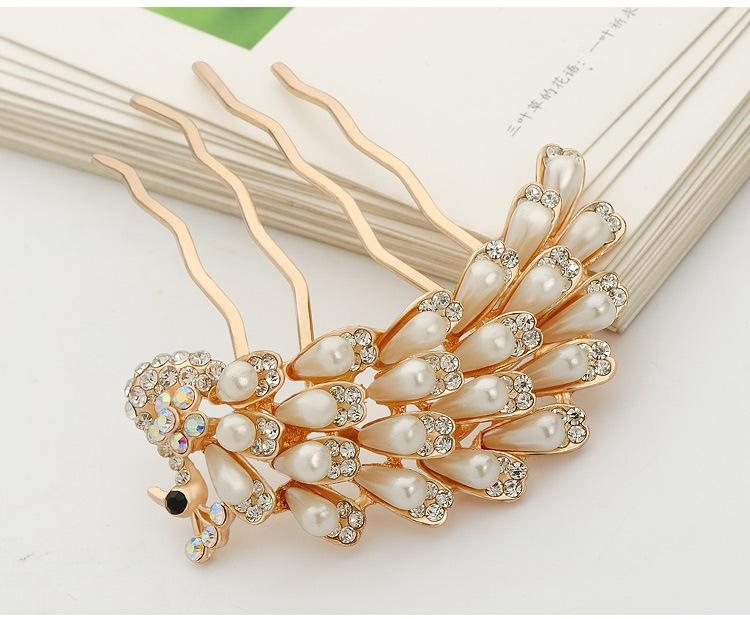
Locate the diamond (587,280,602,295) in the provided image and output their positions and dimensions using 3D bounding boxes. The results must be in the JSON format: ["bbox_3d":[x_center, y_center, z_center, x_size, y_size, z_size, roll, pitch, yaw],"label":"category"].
[{"bbox_3d":[0.243,-0.026,0.821,0.015,0.015,0.004,-34,-22,12],"label":"diamond"}]

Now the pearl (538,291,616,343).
[{"bbox_3d":[0.222,0.011,0.808,0.099,0.031,0.036,-24,22,27],"label":"pearl"}]

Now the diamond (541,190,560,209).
[{"bbox_3d":[0.202,-0.126,0.852,0.023,0.019,0.005,0,-9,-1],"label":"diamond"}]

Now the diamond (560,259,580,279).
[{"bbox_3d":[0.216,-0.044,0.819,0.023,0.019,0.006,1,-5,-10],"label":"diamond"}]

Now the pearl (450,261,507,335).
[{"bbox_3d":[0.102,-0.012,0.816,0.044,0.081,0.029,30,14,-22],"label":"pearl"}]

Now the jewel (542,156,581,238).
[{"bbox_3d":[0.230,-0.140,0.910,0.047,0.096,0.030,22,-28,-9],"label":"jewel"}]
